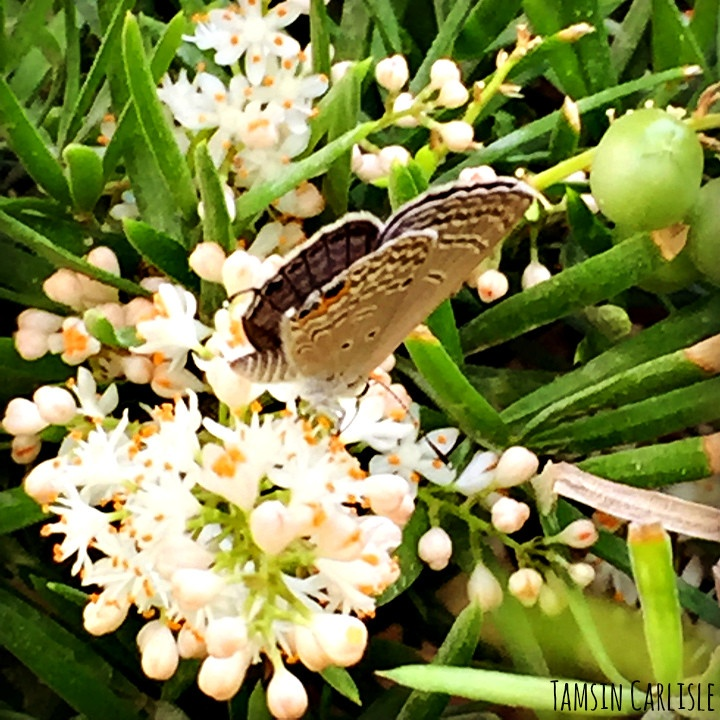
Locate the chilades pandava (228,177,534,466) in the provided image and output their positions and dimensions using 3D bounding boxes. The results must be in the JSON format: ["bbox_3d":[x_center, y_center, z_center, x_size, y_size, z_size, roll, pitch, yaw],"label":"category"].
[{"bbox_3d":[-0.037,-0.017,0.629,0.217,0.208,0.119,-43,45,26],"label":"chilades pandava"}]
